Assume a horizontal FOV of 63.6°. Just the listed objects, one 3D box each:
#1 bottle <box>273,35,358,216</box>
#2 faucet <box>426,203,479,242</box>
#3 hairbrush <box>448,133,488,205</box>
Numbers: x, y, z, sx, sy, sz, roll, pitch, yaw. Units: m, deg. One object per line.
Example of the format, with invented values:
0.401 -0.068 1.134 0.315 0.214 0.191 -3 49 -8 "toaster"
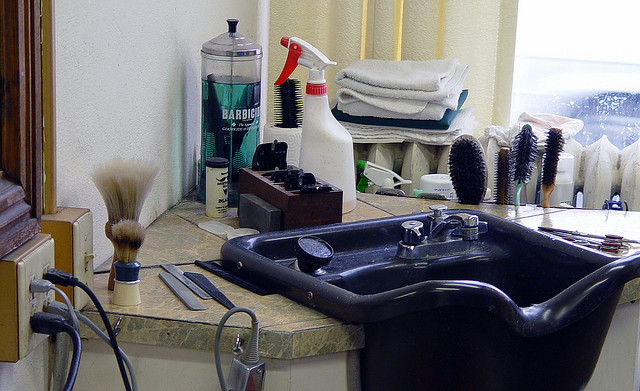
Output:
0.016 -0.185 1.373 0.235 0.456 0.286 -2 15 -16 "bottle"
0.292 0.062 1.163 0.055 0.087 0.164 -2 2 -40 "faucet"
0.402 -0.080 1.417 0.090 0.182 0.106 -6 8 -40 "hairbrush"
